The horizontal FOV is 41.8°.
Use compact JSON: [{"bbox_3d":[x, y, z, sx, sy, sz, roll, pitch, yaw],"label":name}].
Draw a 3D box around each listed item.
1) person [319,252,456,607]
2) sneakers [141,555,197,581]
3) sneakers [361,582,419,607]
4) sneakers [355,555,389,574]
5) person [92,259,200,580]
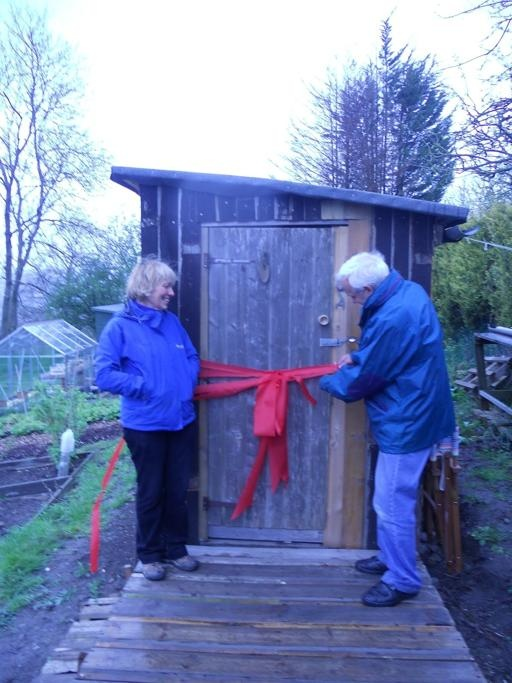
[{"bbox_3d":[0.683,0.454,3.598,0.561,1.830,0.522,10,15,40],"label":"person"},{"bbox_3d":[-0.508,1.291,3.899,0.339,0.124,0.117,5,7,-32],"label":"sneakers"},{"bbox_3d":[0.722,1.347,3.609,0.298,0.100,0.114,4,-3,-8],"label":"sneakers"},{"bbox_3d":[0.675,1.298,3.937,0.192,0.070,0.091,4,-1,-3],"label":"sneakers"},{"bbox_3d":[-0.583,0.428,3.909,0.527,1.792,0.626,2,12,11],"label":"person"}]
